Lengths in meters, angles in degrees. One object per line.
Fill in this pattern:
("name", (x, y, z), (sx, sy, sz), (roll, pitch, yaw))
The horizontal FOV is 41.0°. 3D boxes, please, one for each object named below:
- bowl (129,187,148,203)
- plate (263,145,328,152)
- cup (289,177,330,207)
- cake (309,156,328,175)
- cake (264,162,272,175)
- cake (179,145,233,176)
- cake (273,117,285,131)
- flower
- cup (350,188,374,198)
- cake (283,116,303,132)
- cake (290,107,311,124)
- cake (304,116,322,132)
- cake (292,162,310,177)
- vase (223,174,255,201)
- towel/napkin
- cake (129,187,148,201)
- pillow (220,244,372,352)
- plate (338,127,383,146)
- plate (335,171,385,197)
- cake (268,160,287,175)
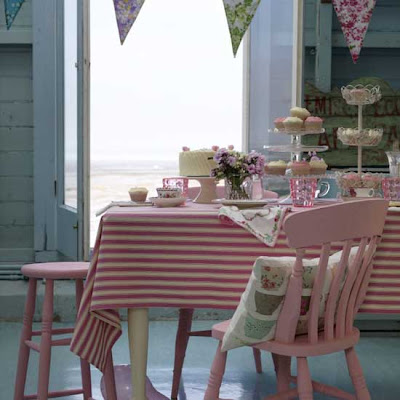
("bowl", (-0.258, -0.020, 2.193), (0.060, 0.046, 0.066), (-4, -6, 44))
("plate", (0.422, -0.223, 2.318), (0.233, 0.040, 0.433), (0, 7, 9))
("cup", (0.415, -0.033, 2.015), (0.117, 0.087, 0.121), (1, 2, 0))
("cake", (0.481, -0.142, 2.177), (0.076, 0.077, 0.075), (1, 6, 7))
("cake", (0.269, -0.122, 2.100), (0.044, 0.039, 0.059), (1, 5, 14))
("cake", (0.003, -0.147, 2.112), (0.153, 0.088, 0.152), (1, 5, 10))
("cake", (0.327, -0.314, 2.194), (0.050, 0.044, 0.050), (-1, -6, 9))
("flower", (0.138, -0.101, 1.942), (0.193, 0.180, 0.190), (0, 4, 7))
("cup", (0.629, -0.029, 2.068), (0.089, 0.034, 0.030), (1, 8, 15))
("cake", (0.367, -0.298, 2.109), (0.068, 0.045, 0.062), (0, 1, -44))
("cake", (0.409, -0.352, 2.196), (0.082, 0.046, 0.081), (10, 7, 6))
("cake", (0.457, -0.307, 2.154), (0.065, 0.048, 0.065), (-1, 13, 2))
("cake", (0.390, -0.115, 2.052), (0.058, 0.039, 0.055), (5, 5, 30))
("vase", (0.154, -0.045, 1.924), (0.091, 0.066, 0.091), (0, 3, -5))
("towel/napkin", (0.159, 0.067, 1.716), (0.158, 0.070, 0.155), (2, 8, 11))
("cake", (-0.253, -0.021, 2.189), (0.060, 0.045, 0.064), (-4, -7, 43))
("pillow", (0.274, 0.292, 1.558), (0.432, 0.305, 0.145), (-4, 9, -22))
("plate", (0.663, -0.260, 2.201), (0.175, 0.072, 0.150), (0, 7, 6))
("plate", (0.620, -0.058, 2.120), (0.120, 0.065, 0.126), (1, 1, -6))
("cake", (0.307, -0.130, 2.087), (0.061, 0.044, 0.062), (-1, 6, 1))
